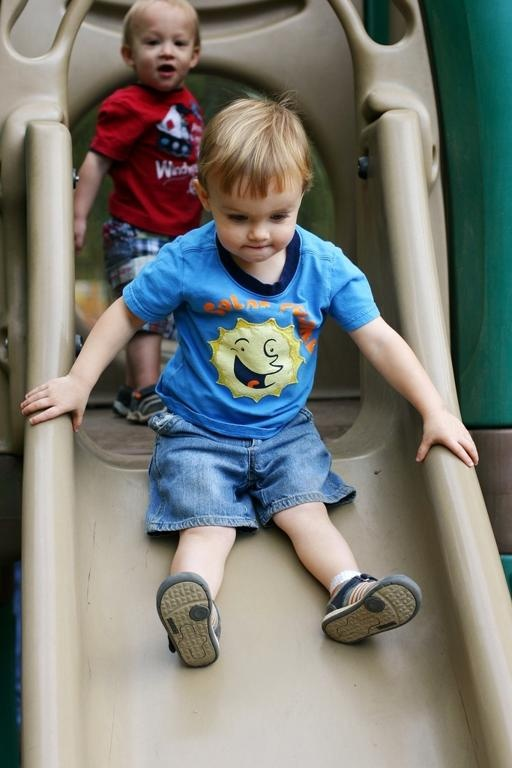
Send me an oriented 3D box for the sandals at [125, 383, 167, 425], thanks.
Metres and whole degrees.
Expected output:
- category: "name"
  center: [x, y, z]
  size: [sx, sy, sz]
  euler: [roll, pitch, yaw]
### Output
- category: "sandals"
  center: [-0.271, 0.054, 1.912]
  size: [0.076, 0.093, 0.191]
  euler: [-13, 8, -8]
